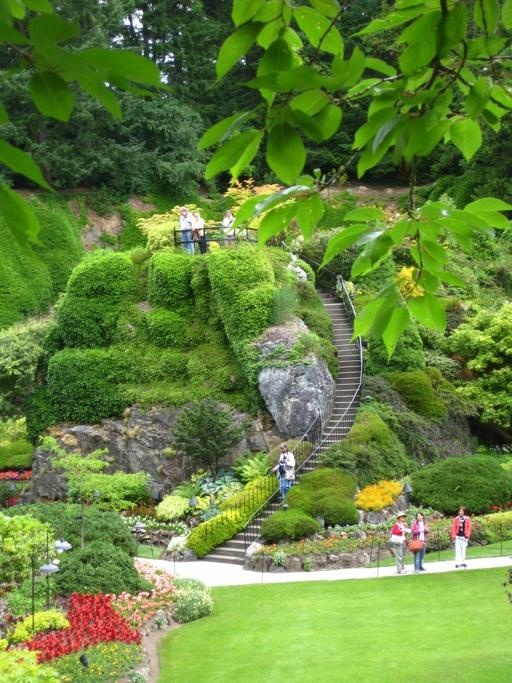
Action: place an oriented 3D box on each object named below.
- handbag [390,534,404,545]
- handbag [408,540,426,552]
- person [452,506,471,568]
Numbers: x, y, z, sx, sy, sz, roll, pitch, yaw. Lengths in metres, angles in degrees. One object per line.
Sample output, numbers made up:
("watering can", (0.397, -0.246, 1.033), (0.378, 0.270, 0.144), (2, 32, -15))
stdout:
("handbag", (2.724, 3.833, 13.639), (0.231, 0.195, 0.156), (1, -12, 6))
("handbag", (3.162, 4.057, 13.889), (0.276, 0.167, 0.256), (-19, -38, 17))
("person", (4.058, 3.861, 13.978), (0.393, 1.204, 1.089), (-7, -9, 13))
